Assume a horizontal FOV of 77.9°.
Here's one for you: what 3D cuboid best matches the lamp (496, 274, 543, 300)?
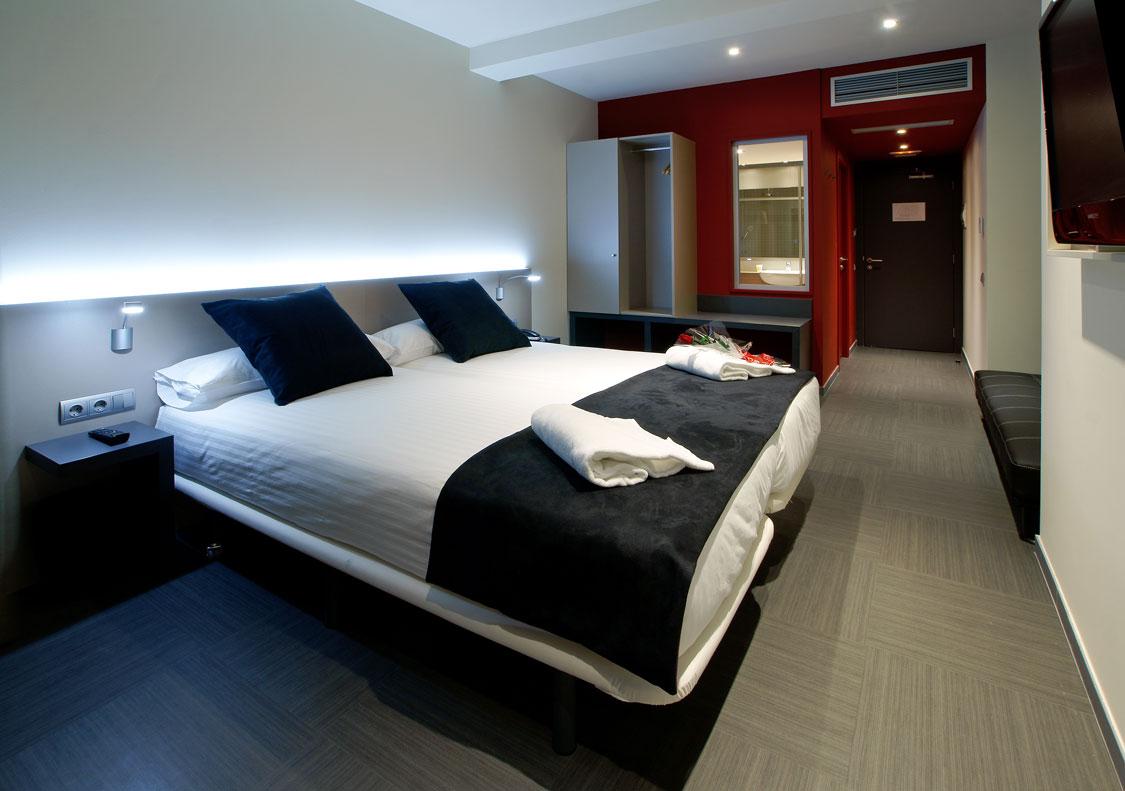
[{"bbox_3d":[-0.379,-0.910,5.859,0.395,0.328,0.191,-1,12,-7],"label":"lamp"}]

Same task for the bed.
[{"bbox_3d":[-0.480,0.388,3.020,2.095,0.617,1.886,7,11,30],"label":"bed"}]

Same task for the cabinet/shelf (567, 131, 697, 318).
[{"bbox_3d":[0.622,-1.535,6.462,1.058,1.648,0.862,3,19,31],"label":"cabinet/shelf"}]

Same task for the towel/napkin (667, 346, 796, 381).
[{"bbox_3d":[0.861,-0.182,4.027,0.348,0.092,0.345,-11,18,-43],"label":"towel/napkin"}]

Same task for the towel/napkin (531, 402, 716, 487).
[{"bbox_3d":[0.177,0.231,2.764,0.765,0.253,0.337,0,18,26],"label":"towel/napkin"}]

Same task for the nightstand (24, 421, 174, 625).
[{"bbox_3d":[-2.298,0.643,3.426,0.496,1.080,0.692,10,12,32],"label":"nightstand"}]
